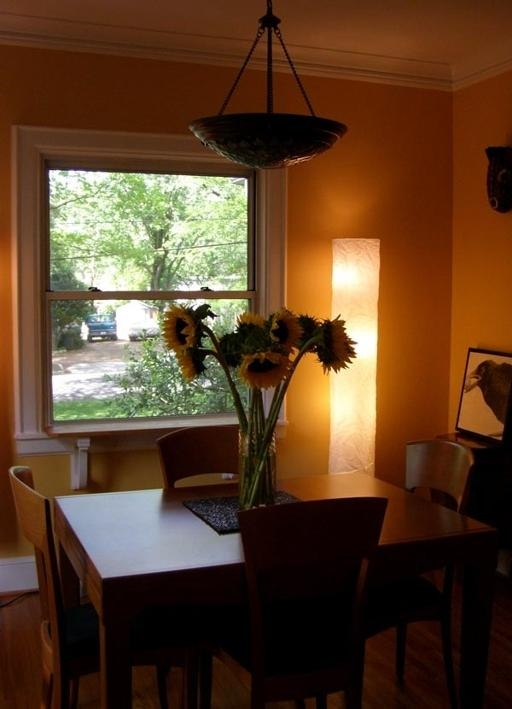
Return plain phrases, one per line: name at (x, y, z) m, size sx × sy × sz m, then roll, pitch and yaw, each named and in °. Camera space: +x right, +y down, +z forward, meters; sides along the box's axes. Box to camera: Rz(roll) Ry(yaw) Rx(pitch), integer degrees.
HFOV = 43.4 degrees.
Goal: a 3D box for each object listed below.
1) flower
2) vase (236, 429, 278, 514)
flower at (-0.096, 0.154, 1.945) m, size 0.628 × 0.681 × 0.583 m, roll 0°, pitch 0°, yaw 34°
vase at (-0.009, 0.329, 1.838) m, size 0.130 × 0.210 × 0.126 m, roll 4°, pitch -6°, yaw -34°
